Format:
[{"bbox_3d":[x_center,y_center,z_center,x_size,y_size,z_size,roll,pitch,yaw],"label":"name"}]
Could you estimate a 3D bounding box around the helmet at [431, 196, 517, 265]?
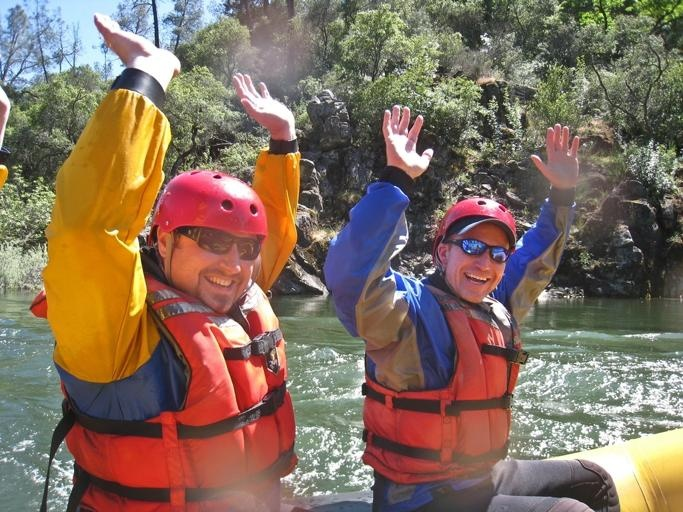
[{"bbox_3d":[0.820,-0.224,4.455,0.338,0.396,0.506,13,-25,-11],"label":"helmet"}]
